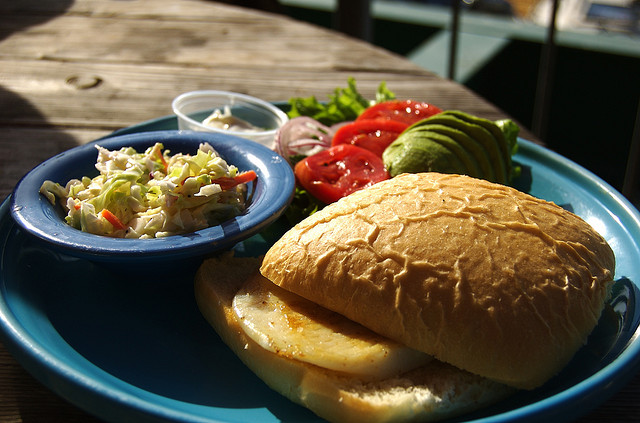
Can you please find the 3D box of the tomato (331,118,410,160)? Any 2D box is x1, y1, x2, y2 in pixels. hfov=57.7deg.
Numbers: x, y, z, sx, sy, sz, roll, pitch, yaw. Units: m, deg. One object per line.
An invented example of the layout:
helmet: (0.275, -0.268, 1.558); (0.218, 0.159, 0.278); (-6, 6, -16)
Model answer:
tomato: (0.177, -0.275, 2.084); (0.296, 0.135, 0.143); (-8, 8, 17)

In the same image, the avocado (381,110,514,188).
avocado: (0.406, -0.229, 2.006); (0.469, 0.239, 0.283); (-8, 8, -13)
